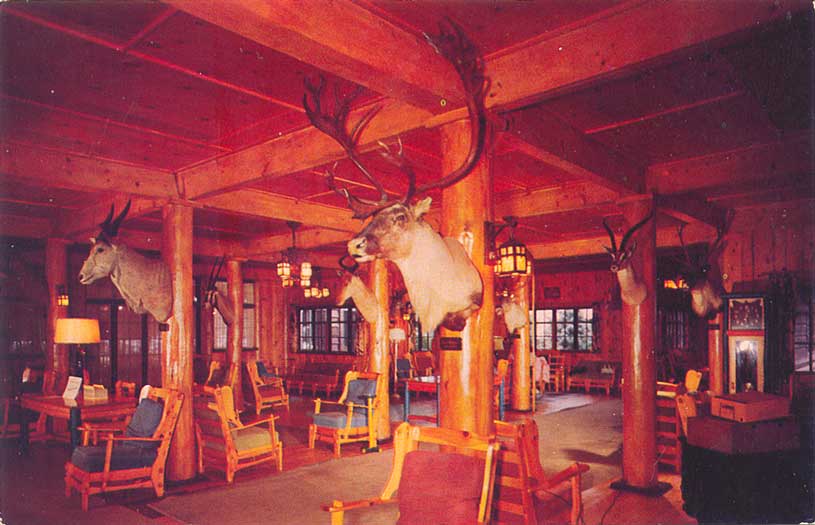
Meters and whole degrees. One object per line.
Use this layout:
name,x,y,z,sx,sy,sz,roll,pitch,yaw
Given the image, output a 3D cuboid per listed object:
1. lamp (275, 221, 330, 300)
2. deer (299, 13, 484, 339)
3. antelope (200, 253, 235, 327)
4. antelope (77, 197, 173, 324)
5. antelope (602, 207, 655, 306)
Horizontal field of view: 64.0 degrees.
lamp,-2.191,0.183,13.352,0.909,1.885,0.862,1,-1,40
deer,-0.120,-0.448,6.903,1.320,3.878,1.438,0,1,-35
antelope,-4.579,0.867,15.767,0.872,2.166,0.714,0,2,-21
antelope,-4.144,0.021,9.896,1.180,2.004,1.077,5,4,37
antelope,3.103,0.004,9.303,0.772,1.964,0.617,-2,-3,15
